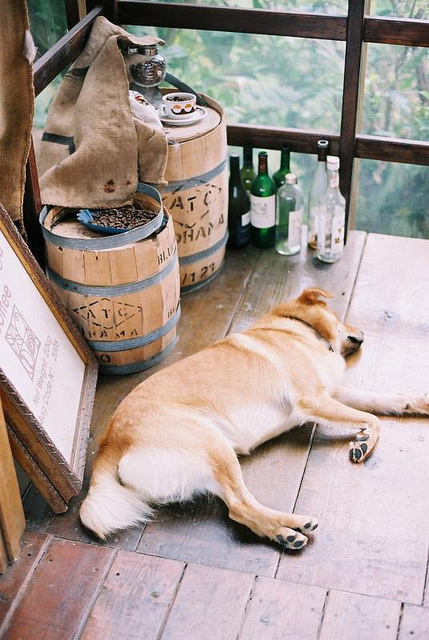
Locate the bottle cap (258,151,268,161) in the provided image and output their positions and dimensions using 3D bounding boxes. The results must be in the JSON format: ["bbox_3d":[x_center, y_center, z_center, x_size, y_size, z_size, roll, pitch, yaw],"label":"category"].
[{"bbox_3d":[0.250,-0.842,3.192,0.046,0.042,0.043,-2,44,0],"label":"bottle cap"}]

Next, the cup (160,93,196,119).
[{"bbox_3d":[-0.149,-1.033,2.995,0.194,0.084,0.127,-21,35,-29],"label":"cup"}]

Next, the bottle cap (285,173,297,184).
[{"bbox_3d":[0.400,-0.749,3.277,0.062,0.053,0.057,-10,44,-7],"label":"bottle cap"}]

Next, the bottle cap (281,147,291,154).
[{"bbox_3d":[0.396,-0.934,3.405,0.041,0.037,0.039,-17,34,-29],"label":"bottle cap"}]

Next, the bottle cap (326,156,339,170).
[{"bbox_3d":[0.595,-0.794,3.122,0.058,0.072,0.088,0,36,9],"label":"bottle cap"}]

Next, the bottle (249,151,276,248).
[{"bbox_3d":[0.258,-0.648,3.394,0.161,0.582,0.158,-4,37,3],"label":"bottle"}]

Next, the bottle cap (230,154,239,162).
[{"bbox_3d":[0.105,-0.837,3.205,0.034,0.031,0.033,35,59,24],"label":"bottle cap"}]

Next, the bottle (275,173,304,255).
[{"bbox_3d":[0.403,-0.593,3.396,0.156,0.463,0.183,-2,37,6],"label":"bottle"}]

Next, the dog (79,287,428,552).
[{"bbox_3d":[0.110,0.315,2.177,1.107,0.414,0.693,-20,35,-21],"label":"dog"}]
